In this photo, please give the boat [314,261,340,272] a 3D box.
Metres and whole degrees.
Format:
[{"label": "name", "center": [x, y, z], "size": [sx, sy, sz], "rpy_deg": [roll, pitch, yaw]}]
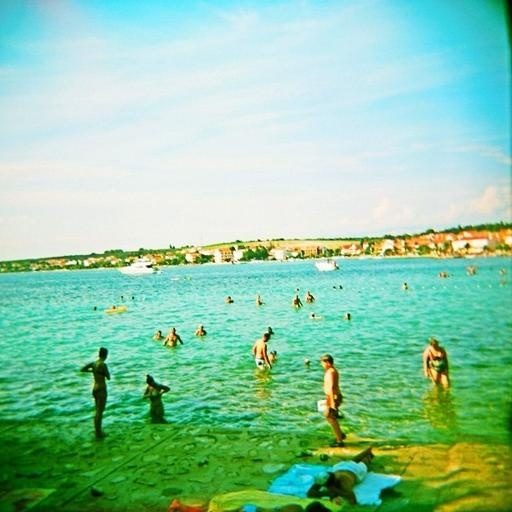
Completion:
[{"label": "boat", "center": [18.326, 2.837, 122.971], "size": [6.922, 2.180, 3.026], "rpy_deg": [9, 2, 42]}]
